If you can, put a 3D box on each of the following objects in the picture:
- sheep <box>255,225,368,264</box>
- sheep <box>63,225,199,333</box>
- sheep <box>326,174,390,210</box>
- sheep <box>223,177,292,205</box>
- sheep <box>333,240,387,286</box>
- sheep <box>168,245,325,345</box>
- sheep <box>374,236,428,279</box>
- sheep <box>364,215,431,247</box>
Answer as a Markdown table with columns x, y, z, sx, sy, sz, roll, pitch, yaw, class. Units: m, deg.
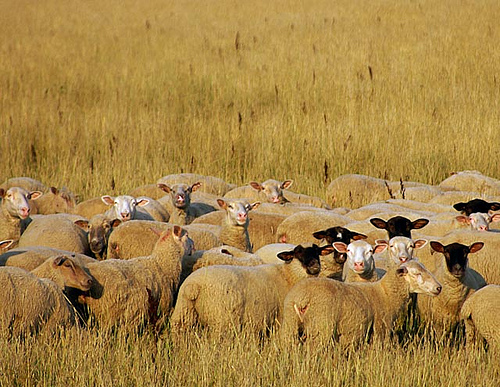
| x | y | z | sx | sy | sz | roll | pitch | yaw | class |
| --- | --- | --- | --- | --- | --- | --- | --- | --- | --- |
| 0.926 | 0.917 | 17.809 | 1.612 | 0.952 | 0.840 | -2 | 7 | 24 | sheep |
| -1.906 | 1.615 | 17.151 | 2.479 | 2.032 | 0.904 | -8 | 6 | -42 | sheep |
| 2.496 | -0.016 | 23.944 | 1.511 | 1.098 | 0.708 | -1 | 9 | -15 | sheep |
| 0.131 | -0.066 | 22.717 | 0.613 | 0.763 | 1.393 | 1 | -3 | -45 | sheep |
| 1.969 | 1.197 | 17.328 | 0.501 | 0.653 | 1.000 | -2 | -5 | 6 | sheep |
| 0.312 | 1.683 | 16.638 | 2.775 | 2.174 | 1.238 | 1 | 6 | -31 | sheep |
| 2.640 | 1.093 | 17.868 | 0.522 | 0.624 | 1.112 | 0 | -1 | 0 | sheep |
| 2.777 | 0.637 | 18.842 | 0.588 | 0.623 | 1.139 | -4 | -1 | -4 | sheep |
